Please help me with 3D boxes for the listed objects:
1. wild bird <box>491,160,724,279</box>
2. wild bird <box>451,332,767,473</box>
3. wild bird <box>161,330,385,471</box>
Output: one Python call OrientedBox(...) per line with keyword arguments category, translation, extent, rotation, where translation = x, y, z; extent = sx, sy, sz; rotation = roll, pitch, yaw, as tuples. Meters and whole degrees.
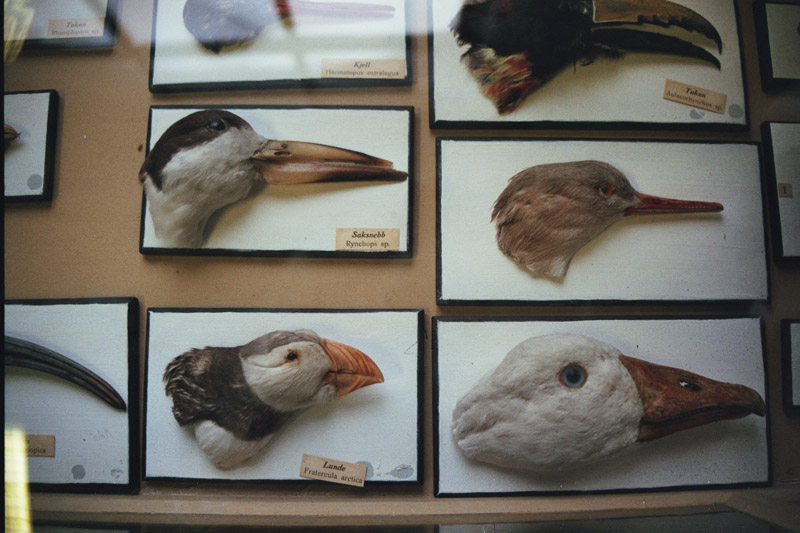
OrientedBox(category="wild bird", translation=(0.574, -0.139, 3.490), extent=(0.802, 0.245, 0.418), rotation=(0, 88, 6))
OrientedBox(category="wild bird", translation=(0.522, 0.363, 3.489), extent=(0.900, 0.338, 0.390), rotation=(-1, 96, 2))
OrientedBox(category="wild bird", translation=(-0.333, 0.386, 3.488), extent=(0.562, 0.209, 0.324), rotation=(-6, 48, 1))
